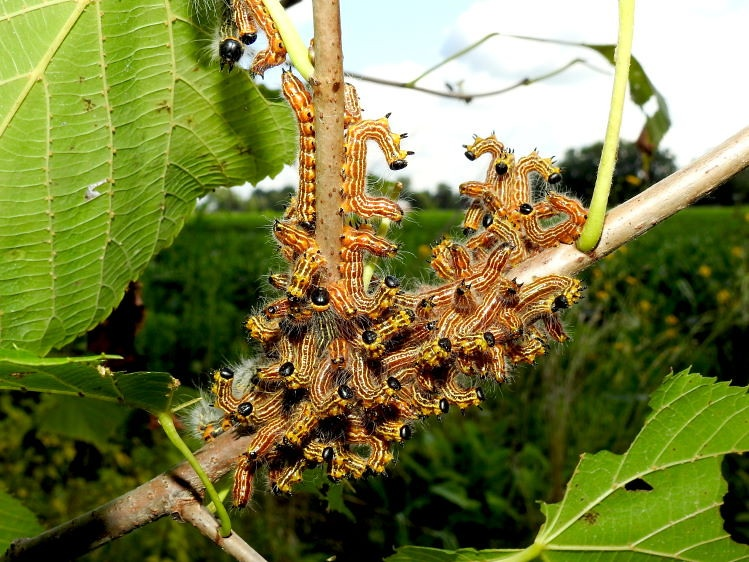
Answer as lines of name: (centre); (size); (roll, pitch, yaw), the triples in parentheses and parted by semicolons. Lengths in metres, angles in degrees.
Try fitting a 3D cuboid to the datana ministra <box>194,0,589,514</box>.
datana ministra: (0.087, 0.094, 5.453); (1.680, 2.077, 0.689); (4, -7, -10)
